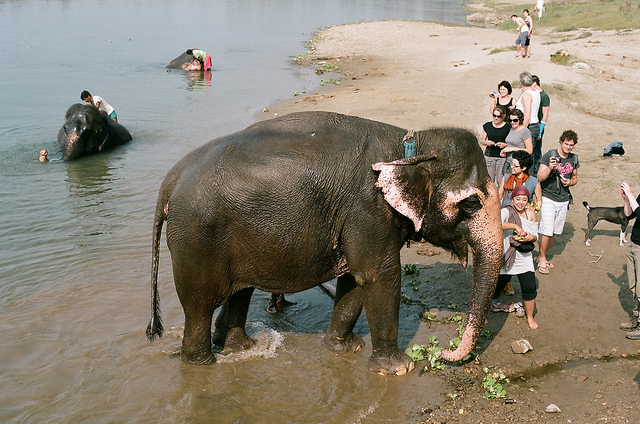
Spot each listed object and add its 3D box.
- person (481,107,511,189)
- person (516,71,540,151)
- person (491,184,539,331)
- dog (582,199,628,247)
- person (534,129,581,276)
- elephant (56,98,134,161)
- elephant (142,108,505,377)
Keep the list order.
[{"bbox_3d":[3.553,-1.183,12.612,0.627,1.777,0.581,4,22,20],"label":"person"},{"bbox_3d":[4.273,-2.123,12.790,0.523,1.765,0.546,3,2,9],"label":"person"},{"bbox_3d":[3.308,0.717,10.558,0.995,2.341,0.709,6,9,38],"label":"person"},{"bbox_3d":[5.247,0.193,11.522,0.801,0.903,0.684,-5,-1,14],"label":"dog"},{"bbox_3d":[4.446,-0.210,11.657,0.776,2.580,0.901,4,6,29],"label":"person"},{"bbox_3d":[-6.493,-2.279,17.819,1.925,1.169,1.252,-10,32,-18],"label":"elephant"},{"bbox_3d":[0.074,0.577,9.943,5.076,3.628,1.902,2,31,1],"label":"elephant"}]
